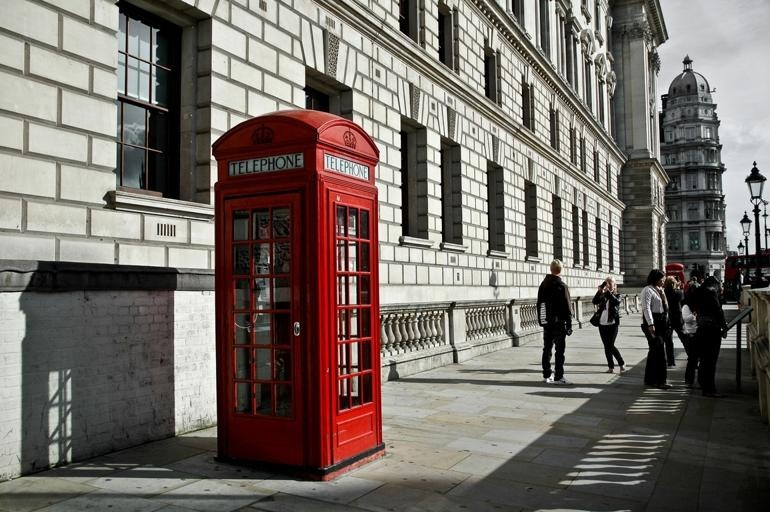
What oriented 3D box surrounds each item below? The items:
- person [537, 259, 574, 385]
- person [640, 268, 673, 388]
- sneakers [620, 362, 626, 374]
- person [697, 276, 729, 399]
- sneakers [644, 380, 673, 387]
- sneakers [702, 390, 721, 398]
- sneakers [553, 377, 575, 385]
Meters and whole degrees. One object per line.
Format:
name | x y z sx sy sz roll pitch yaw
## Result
person | 3.653 1.412 16.750 0.710 2.646 1.334 1 4 12
person | 5.593 1.513 16.085 0.555 2.447 1.176 1 4 18
sneakers | 5.428 2.601 17.769 0.082 0.250 0.101 -22 34 -25
person | 6.431 1.562 15.369 0.572 2.378 0.942 2 4 23
sneakers | 5.625 2.659 15.983 0.523 0.231 0.183 -5 -6 26
sneakers | 6.326 2.704 15.078 0.347 0.141 0.119 -4 0 22
sneakers | 3.756 2.636 16.269 0.422 0.173 0.162 -1 -1 14
